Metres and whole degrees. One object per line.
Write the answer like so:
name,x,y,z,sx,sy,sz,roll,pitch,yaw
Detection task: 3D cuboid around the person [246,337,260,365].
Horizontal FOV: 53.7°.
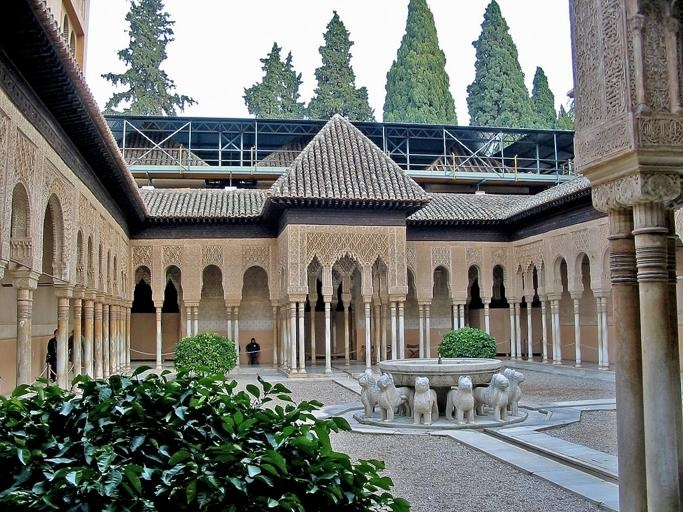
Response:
person,-2.998,3.246,22.909,0.514,0.903,0.794,9,-6,-6

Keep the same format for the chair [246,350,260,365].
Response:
chair,-3.008,3.481,22.932,0.483,0.475,0.483,0,-10,-8
